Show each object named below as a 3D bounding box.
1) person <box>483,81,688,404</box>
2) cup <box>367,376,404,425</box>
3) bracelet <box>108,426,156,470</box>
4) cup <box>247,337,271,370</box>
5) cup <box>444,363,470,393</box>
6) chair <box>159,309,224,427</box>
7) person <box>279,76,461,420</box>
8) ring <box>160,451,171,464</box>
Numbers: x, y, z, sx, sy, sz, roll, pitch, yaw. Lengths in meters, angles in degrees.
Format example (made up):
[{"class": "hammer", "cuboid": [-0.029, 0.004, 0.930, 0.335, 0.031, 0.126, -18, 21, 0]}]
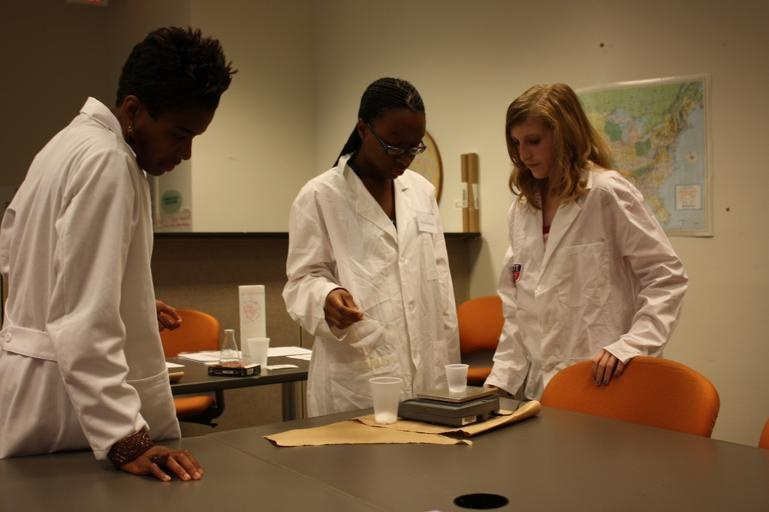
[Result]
[{"class": "person", "cuboid": [0.764, -0.033, 2.221, 0.706, 1.257, 0.513, 5, 11, 27]}, {"class": "cup", "cuboid": [0.005, 0.430, 1.735, 0.117, 0.128, 0.121, -1, -3, 0]}, {"class": "bracelet", "cuboid": [-0.610, 0.466, 1.412, 0.093, 0.064, 0.094, -23, -7, -39]}, {"class": "cup", "cuboid": [-0.561, 0.434, 2.662, 0.118, 0.133, 0.120, -1, -8, 0]}, {"class": "cup", "cuboid": [0.230, 0.382, 1.822, 0.079, 0.072, 0.081, -2, -5, 0]}, {"class": "chair", "cuboid": [-1.063, 0.601, 3.072, 0.403, 0.603, 0.372, 0, 0, -14]}, {"class": "person", "cuboid": [-0.027, -0.032, 2.213, 0.685, 1.255, 0.463, -7, 13, -35]}, {"class": "ring", "cuboid": [-0.535, 0.494, 1.417, 0.016, 0.019, 0.020, -3, -14, 28]}]
